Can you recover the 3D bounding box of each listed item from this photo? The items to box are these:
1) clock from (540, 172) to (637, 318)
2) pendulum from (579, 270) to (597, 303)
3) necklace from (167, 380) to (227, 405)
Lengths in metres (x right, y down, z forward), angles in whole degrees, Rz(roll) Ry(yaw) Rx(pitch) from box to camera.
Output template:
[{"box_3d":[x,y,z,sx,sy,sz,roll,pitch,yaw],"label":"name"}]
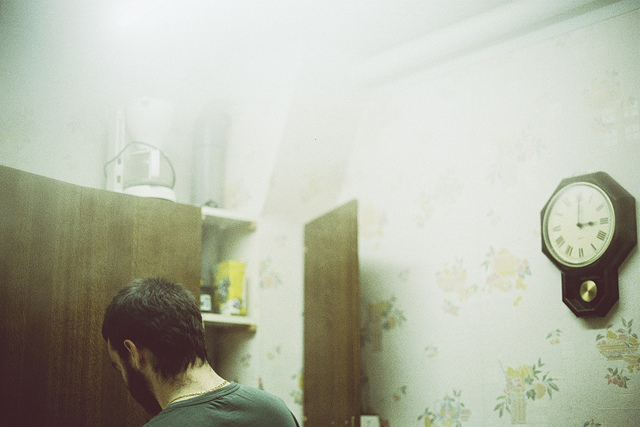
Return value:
[{"box_3d":[1.296,0.156,3.101,0.561,0.891,0.135,-10,-18,44],"label":"clock"},{"box_3d":[1.264,0.345,3.078,0.029,0.142,0.081,12,-15,-41],"label":"pendulum"},{"box_3d":[-0.399,0.638,2.304,0.307,0.068,0.046,-15,-18,18],"label":"necklace"}]
